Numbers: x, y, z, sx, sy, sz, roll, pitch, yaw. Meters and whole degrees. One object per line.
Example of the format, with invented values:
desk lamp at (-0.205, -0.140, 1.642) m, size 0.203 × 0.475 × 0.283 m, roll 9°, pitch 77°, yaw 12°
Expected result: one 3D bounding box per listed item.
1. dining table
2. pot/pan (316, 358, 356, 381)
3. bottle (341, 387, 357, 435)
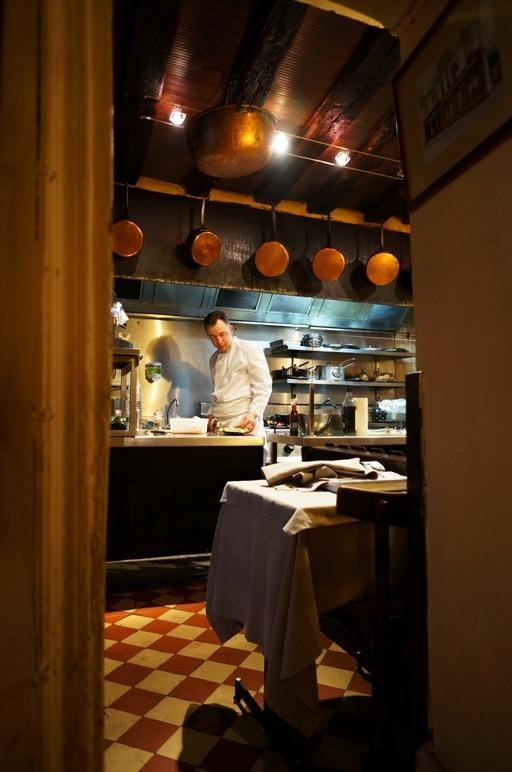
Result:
dining table at (0.022, 0.536, 1.655) m, size 0.609 × 0.661 × 0.665 m, roll 10°, pitch -14°, yaw -27°
pot/pan at (0.799, -0.155, 5.935) m, size 0.337 × 0.223 × 0.240 m, roll 2°, pitch -3°, yaw -5°
bottle at (0.466, 0.122, 2.978) m, size 0.069 × 0.227 × 0.197 m, roll -2°, pitch -3°, yaw 9°
